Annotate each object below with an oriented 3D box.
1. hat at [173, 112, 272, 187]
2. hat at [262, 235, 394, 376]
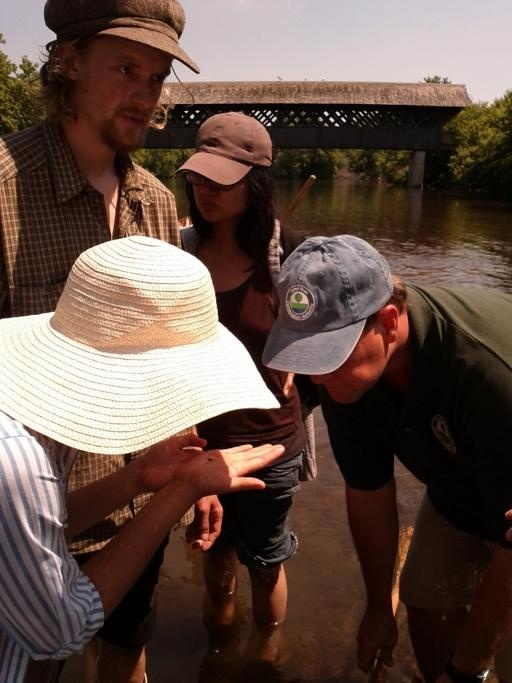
[{"bbox_3d":[-0.141,-0.930,2.831,0.344,0.261,0.509,18,28,25],"label":"hat"},{"bbox_3d":[0.221,-0.081,1.761,0.327,0.236,0.448,16,60,30],"label":"hat"}]
